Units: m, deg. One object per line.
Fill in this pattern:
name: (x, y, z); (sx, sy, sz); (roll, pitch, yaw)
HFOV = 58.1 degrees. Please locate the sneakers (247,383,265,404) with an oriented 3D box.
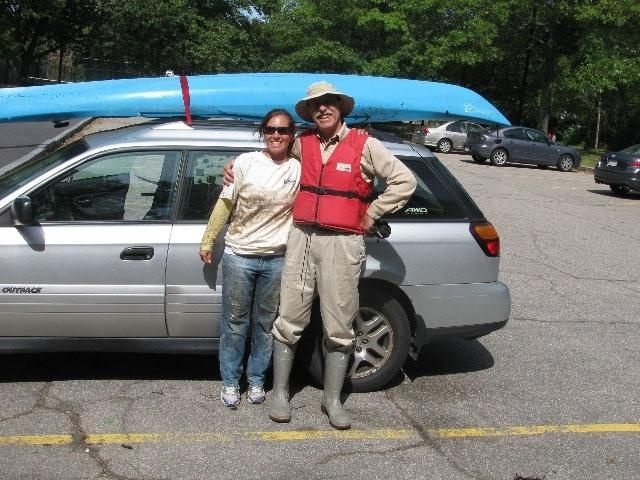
sneakers: (-0.500, 1.197, 4.464); (0.098, 0.069, 0.170); (1, 1, -7)

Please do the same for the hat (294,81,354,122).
hat: (0.008, -1.043, 4.291); (0.353, 0.134, 0.354); (-8, 7, -16)

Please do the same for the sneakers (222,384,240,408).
sneakers: (-0.677, 1.197, 4.398); (0.102, 0.075, 0.190); (3, 10, -12)

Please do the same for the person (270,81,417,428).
person: (0.121, 0.108, 4.219); (0.863, 2.427, 0.733); (4, 15, 4)
